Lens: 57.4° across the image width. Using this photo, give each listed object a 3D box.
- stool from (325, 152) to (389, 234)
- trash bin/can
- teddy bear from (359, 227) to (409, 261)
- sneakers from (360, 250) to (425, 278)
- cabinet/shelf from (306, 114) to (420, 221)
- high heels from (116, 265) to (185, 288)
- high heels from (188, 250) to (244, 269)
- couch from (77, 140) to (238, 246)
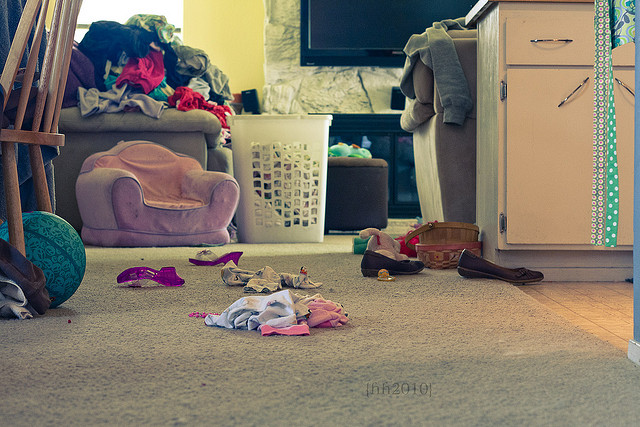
[{"bbox_3d":[0.239,-0.157,4.284,0.524,0.507,0.520,0,4,-5],"label":"stool"},{"bbox_3d":[-0.247,-0.200,4.021,0.870,0.946,0.779,0,-4,-2],"label":"trash bin/can"},{"bbox_3d":[0.273,0.124,2.658,0.307,0.110,0.098,18,-1,-9],"label":"teddy bear"},{"bbox_3d":[0.307,0.205,2.484,0.244,0.092,0.105,-3,4,-23],"label":"sneakers"},{"bbox_3d":[0.424,-0.500,5.620,1.013,0.905,0.956,2,17,7],"label":"cabinet/shelf"},{"bbox_3d":[-0.646,0.241,2.256,0.190,0.053,0.110,2,-1,-11],"label":"high heels"},{"bbox_3d":[-0.480,0.215,2.769,0.209,0.059,0.113,2,1,14],"label":"high heels"},{"bbox_3d":[-1.085,-0.078,3.633,0.817,0.509,0.770,3,1,-36],"label":"couch"}]
